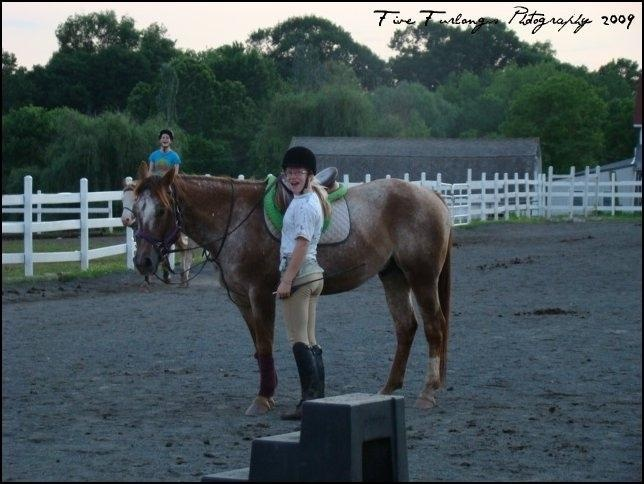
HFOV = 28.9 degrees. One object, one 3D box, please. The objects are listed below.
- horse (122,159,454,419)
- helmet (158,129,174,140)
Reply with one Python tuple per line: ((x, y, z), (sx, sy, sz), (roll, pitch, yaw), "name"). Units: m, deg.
((-1.813, 2.469, 37.279), (6.313, 8.907, 10.628), (12, 15, 38), "horse")
((-5.084, -3.523, 40.683), (0.440, 0.347, 0.386), (-3, 0, -12), "helmet")
